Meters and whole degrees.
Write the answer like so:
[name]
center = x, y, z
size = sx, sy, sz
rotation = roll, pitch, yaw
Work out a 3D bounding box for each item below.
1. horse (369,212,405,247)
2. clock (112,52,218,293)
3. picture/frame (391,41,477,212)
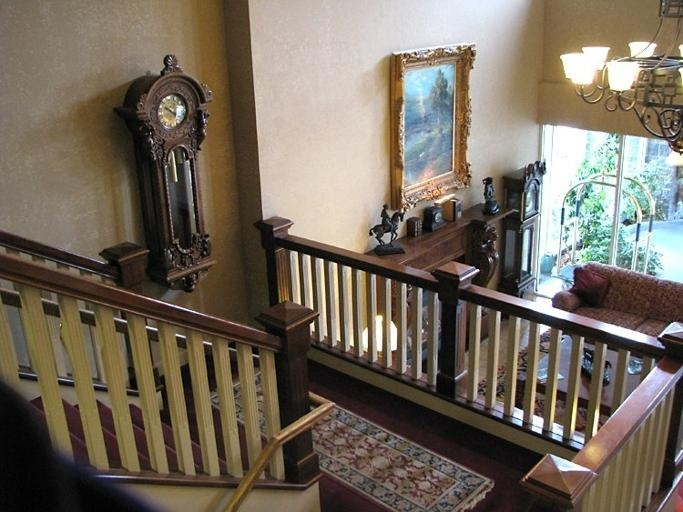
[horse]
center = 0.433, -0.259, 6.073
size = 0.256, 0.312, 0.128
rotation = -14, 43, -15
[clock]
center = -1.154, -0.507, 4.276
size = 0.609, 1.664, 0.291
rotation = -10, 19, -19
[picture/frame]
center = 0.915, -1.370, 6.334
size = 0.209, 1.665, 1.431
rotation = 16, 28, 38
